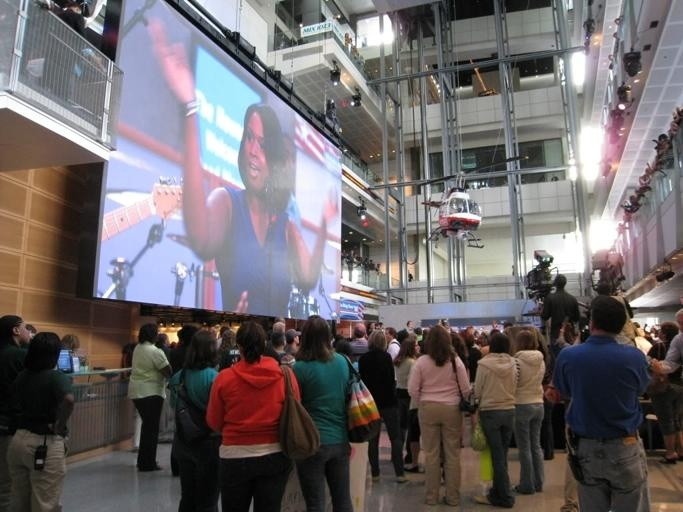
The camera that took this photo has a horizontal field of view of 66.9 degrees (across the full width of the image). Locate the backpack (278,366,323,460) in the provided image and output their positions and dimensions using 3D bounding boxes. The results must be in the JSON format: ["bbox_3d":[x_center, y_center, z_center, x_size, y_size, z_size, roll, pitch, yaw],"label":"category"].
[{"bbox_3d":[-0.360,1.312,4.373,0.324,0.761,0.145,-1,-10,-4],"label":"backpack"}]

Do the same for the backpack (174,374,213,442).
[{"bbox_3d":[-1.433,1.465,5.110,0.407,0.816,0.649,-2,-16,-24],"label":"backpack"}]

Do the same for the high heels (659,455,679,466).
[{"bbox_3d":[4.598,2.846,7.206,0.323,0.150,0.113,13,-24,-24],"label":"high heels"}]

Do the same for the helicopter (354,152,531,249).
[{"bbox_3d":[2.844,-1.291,12.687,2.954,1.465,3.753,-17,10,-16],"label":"helicopter"}]

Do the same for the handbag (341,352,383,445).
[{"bbox_3d":[0.197,1.359,4.903,0.305,0.791,0.206,-3,-10,8],"label":"handbag"}]

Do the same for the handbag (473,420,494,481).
[{"bbox_3d":[1.678,2.292,6.106,0.308,0.684,0.159,8,-14,-43],"label":"handbag"}]

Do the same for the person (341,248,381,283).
[{"bbox_3d":[0.960,0.632,25.752,1.075,1.290,3.430,0,1,11],"label":"person"}]

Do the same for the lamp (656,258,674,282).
[{"bbox_3d":[7.297,0.286,11.657,0.157,0.452,0.463,7,-16,7],"label":"lamp"}]

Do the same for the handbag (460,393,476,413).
[{"bbox_3d":[1.477,1.763,6.193,0.142,0.234,0.213,4,-20,-3],"label":"handbag"}]
